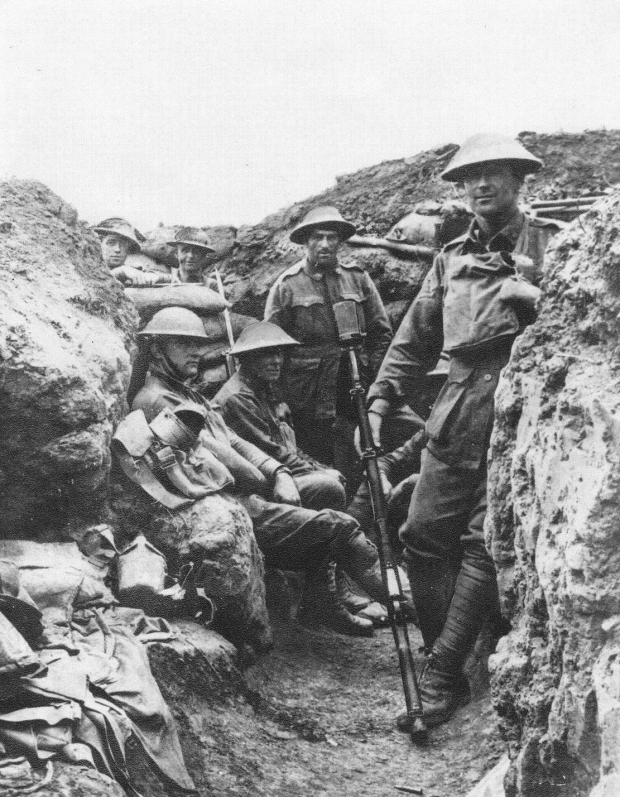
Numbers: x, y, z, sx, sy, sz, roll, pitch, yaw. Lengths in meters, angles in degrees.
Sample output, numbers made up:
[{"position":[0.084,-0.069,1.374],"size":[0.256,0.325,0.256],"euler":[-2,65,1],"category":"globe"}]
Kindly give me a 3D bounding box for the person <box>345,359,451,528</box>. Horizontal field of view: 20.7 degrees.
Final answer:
[{"position":[0.406,0.274,8.596],"size":[0.384,0.925,0.310],"euler":[6,-19,-12],"category":"person"}]

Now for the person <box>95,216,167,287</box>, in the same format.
[{"position":[-1.095,-0.864,10.492],"size":[0.474,0.501,1.019],"euler":[2,-6,-5],"category":"person"}]

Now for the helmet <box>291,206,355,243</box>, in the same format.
[{"position":[0.088,-0.983,9.627],"size":[0.366,0.136,0.451],"euler":[-1,-17,-4],"category":"helmet"}]

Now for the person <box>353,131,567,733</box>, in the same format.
[{"position":[0.684,0.108,7.684],"size":[0.670,2.679,1.300],"euler":[1,-6,3],"category":"person"}]

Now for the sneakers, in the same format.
[{"position":[0.581,1.268,7.364],"size":[0.223,0.309,0.245],"euler":[1,-6,3],"category":"sneakers"}]

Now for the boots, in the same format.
[{"position":[0.243,0.862,8.333],"size":[0.187,0.694,0.202],"euler":[-36,23,7],"category":"boots"}]

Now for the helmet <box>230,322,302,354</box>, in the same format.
[{"position":[-0.265,-0.325,8.921],"size":[0.241,0.085,0.228],"euler":[-9,-7,11],"category":"helmet"}]

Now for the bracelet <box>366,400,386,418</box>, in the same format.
[{"position":[0.341,0.051,8.527],"size":[0.079,0.081,0.079],"euler":[-2,39,52],"category":"bracelet"}]
